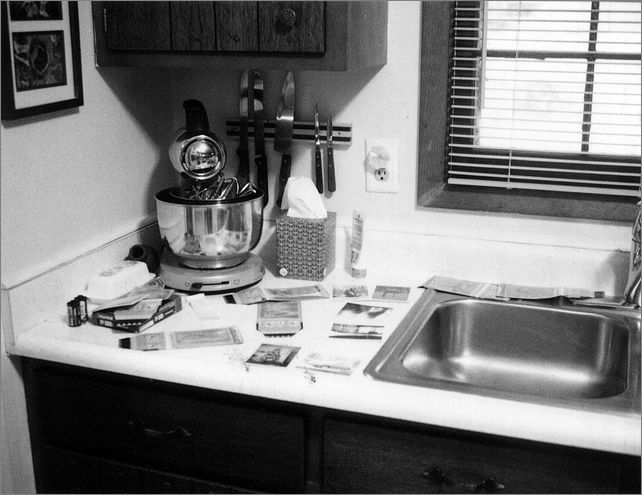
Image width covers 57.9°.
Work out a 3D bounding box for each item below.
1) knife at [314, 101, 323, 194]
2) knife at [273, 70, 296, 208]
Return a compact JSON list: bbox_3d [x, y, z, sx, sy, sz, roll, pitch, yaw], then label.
[{"bbox_3d":[-0.007,-0.313,1.843,0.030,0.248,0.032,-2,3,-36],"label":"knife"},{"bbox_3d":[-0.119,-0.342,1.851,0.062,0.441,0.021,5,19,-3],"label":"knife"}]
